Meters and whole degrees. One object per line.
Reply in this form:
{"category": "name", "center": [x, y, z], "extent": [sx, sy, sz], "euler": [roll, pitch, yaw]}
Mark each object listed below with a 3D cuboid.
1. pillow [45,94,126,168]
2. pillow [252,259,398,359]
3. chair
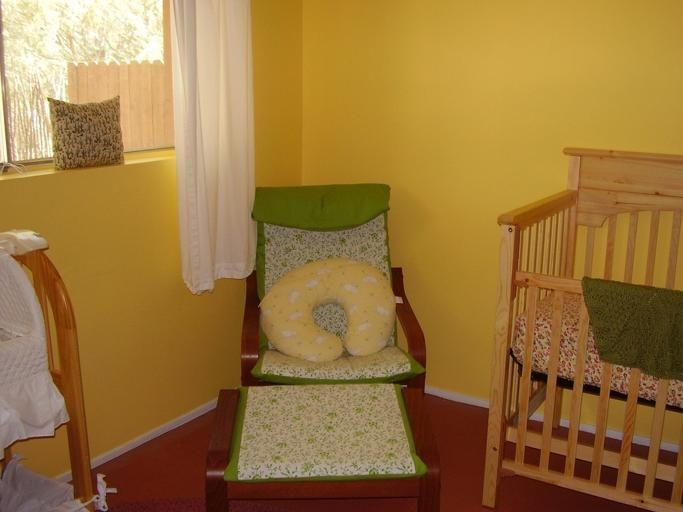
{"category": "pillow", "center": [-1.128, -0.540, 2.436], "extent": [0.272, 0.286, 0.103], "euler": [-17, 16, -41]}
{"category": "pillow", "center": [-0.057, 0.261, 2.757], "extent": [0.684, 0.415, 0.350], "euler": [-1, 14, -10]}
{"category": "chair", "center": [-0.073, 0.323, 2.804], "extent": [0.834, 1.228, 1.065], "euler": [1, 17, -5]}
